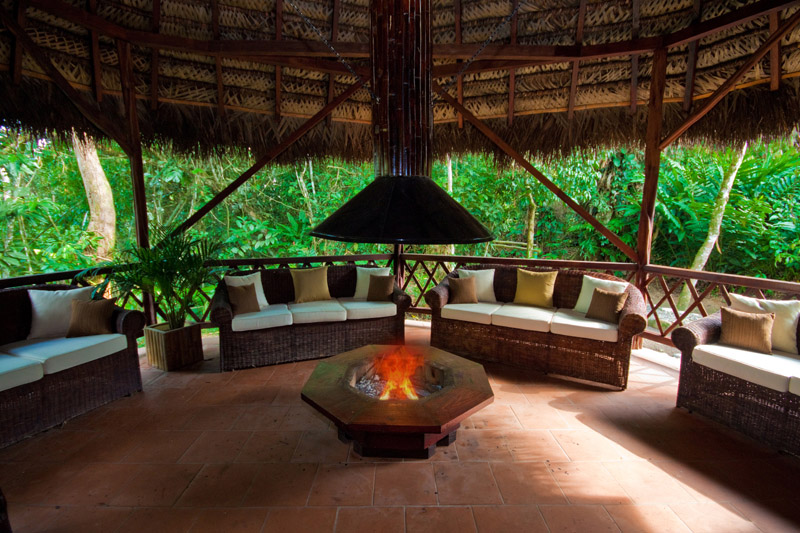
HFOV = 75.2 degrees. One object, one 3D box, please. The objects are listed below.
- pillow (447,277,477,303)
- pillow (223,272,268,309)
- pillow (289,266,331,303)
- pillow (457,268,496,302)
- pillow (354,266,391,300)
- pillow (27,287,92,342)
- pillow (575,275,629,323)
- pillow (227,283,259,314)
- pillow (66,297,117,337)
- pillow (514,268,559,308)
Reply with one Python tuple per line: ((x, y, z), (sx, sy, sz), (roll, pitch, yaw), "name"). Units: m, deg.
((0.845, 0.330, 7.212), (0.359, 0.321, 0.133), (-1, -8, 3), "pillow")
((-2.074, 0.322, 6.932), (0.165, 0.442, 0.466), (-35, -18, 32), "pillow")
((-1.295, 0.265, 7.387), (0.475, 0.413, 0.242), (-6, -8, -29), "pillow")
((1.062, 0.271, 7.326), (0.443, 0.410, 0.165), (-1, -15, 2), "pillow")
((-0.396, 0.241, 7.471), (0.465, 0.420, 0.176), (0, -18, 22), "pillow")
((-3.864, 0.553, 5.874), (0.573, 0.496, 0.201), (-2, -23, -20), "pillow")
((2.549, 0.396, 6.633), (0.618, 0.480, 0.616), (5, 9, 22), "pillow")
((-2.067, 0.420, 6.794), (0.331, 0.296, 0.177), (-13, -42, -29), "pillow")
((-3.524, 0.570, 5.900), (0.446, 0.422, 0.157), (0, -15, -16), "pillow")
((1.866, 0.301, 7.095), (0.460, 0.420, 0.167), (10, -15, 31), "pillow")
